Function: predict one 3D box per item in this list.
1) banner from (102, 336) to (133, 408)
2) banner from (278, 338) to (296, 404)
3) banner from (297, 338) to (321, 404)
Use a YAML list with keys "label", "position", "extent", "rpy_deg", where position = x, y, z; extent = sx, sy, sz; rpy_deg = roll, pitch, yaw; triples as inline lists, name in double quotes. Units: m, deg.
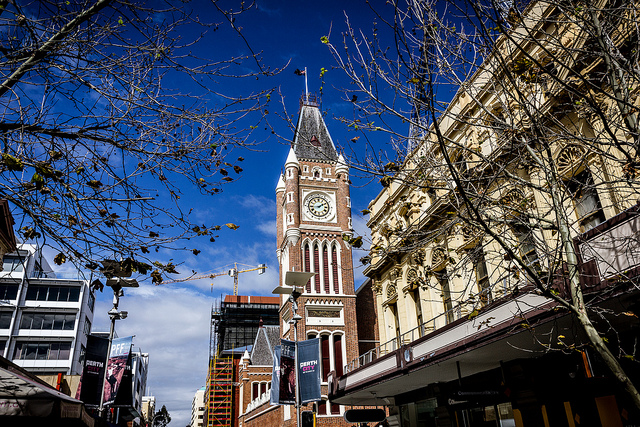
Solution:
- label: "banner"
  position: [-8.930, 6.854, 23.840]
  extent: [0.830, 2.895, 1.511]
  rpy_deg: [7, -28, -16]
- label: "banner"
  position: [-1.569, 7.469, 25.913]
  extent: [0.966, 3.017, 0.848]
  rpy_deg: [10, -29, -21]
- label: "banner"
  position: [-0.483, 7.281, 25.293]
  extent: [0.978, 2.958, 0.635]
  rpy_deg: [-1, -27, -2]
